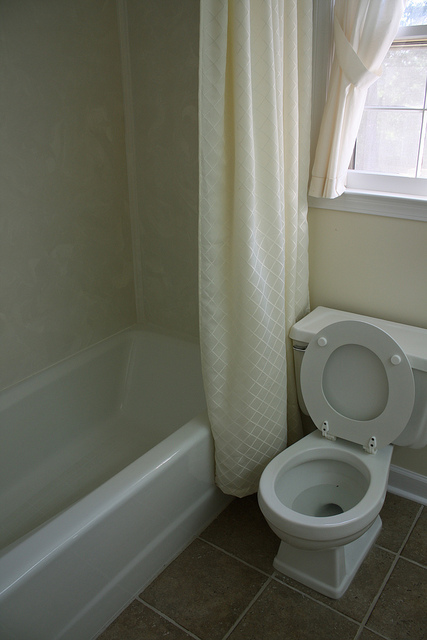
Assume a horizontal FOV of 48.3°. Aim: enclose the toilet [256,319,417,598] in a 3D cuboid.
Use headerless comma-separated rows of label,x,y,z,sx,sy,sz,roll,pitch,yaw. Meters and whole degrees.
toilet,0.314,0.327,1.261,0.342,0.579,0.451,7,16,35
